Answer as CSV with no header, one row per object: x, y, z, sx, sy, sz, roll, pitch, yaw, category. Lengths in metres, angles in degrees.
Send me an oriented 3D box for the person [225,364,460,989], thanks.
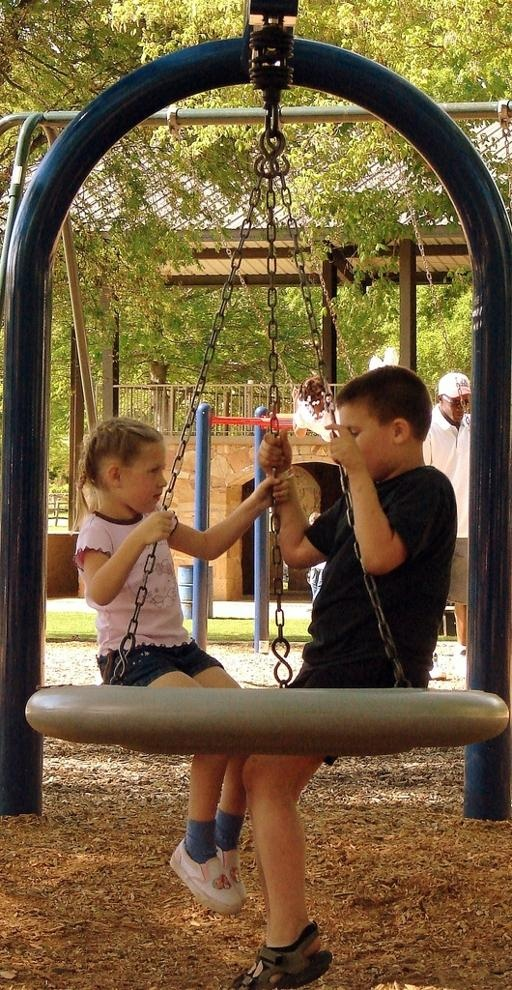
0.159,0.271,1.638,0.417,1.019,0.803,-2,-4,-2,person

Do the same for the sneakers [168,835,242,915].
-0.086,0.634,1.647,0.147,0.066,0.083,40,15,29,sneakers
